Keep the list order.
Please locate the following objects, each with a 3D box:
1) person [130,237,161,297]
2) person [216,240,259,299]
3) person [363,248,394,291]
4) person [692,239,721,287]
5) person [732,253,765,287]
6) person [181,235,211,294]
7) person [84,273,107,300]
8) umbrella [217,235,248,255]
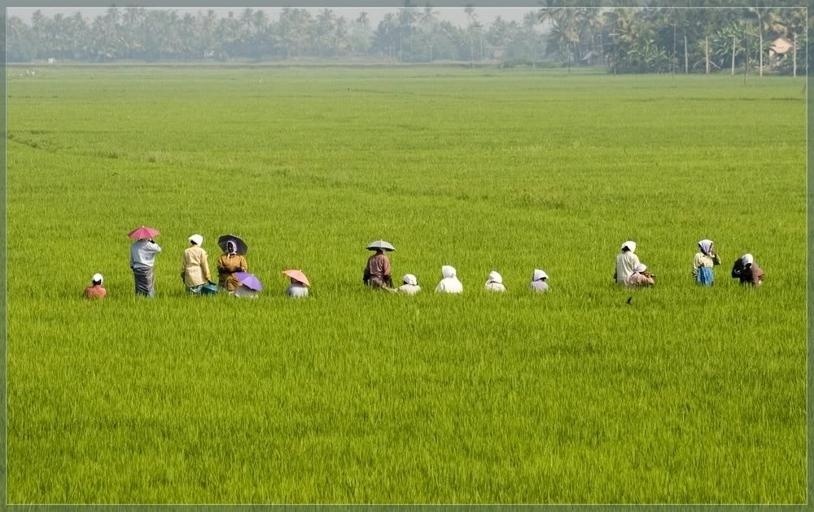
[{"bbox_3d":[-6.431,0.212,26.805,0.649,1.887,0.556,5,28,0],"label":"person"},{"bbox_3d":[-4.175,0.068,26.881,1.078,1.752,1.309,3,29,-2],"label":"person"},{"bbox_3d":[-0.758,0.367,27.318,0.714,1.067,0.425,3,18,3],"label":"person"},{"bbox_3d":[7.648,0.066,28.045,0.622,1.354,2.240,3,13,16],"label":"person"},{"bbox_3d":[8.636,0.343,27.836,0.735,0.911,0.965,4,13,17],"label":"person"},{"bbox_3d":[-5.060,0.223,26.499,0.614,1.582,0.977,-5,13,-23],"label":"person"},{"bbox_3d":[-7.832,0.807,27.557,0.335,0.866,0.376,8,22,-4],"label":"person"},{"bbox_3d":[-4.164,-0.234,26.416,0.560,0.537,0.495,-7,14,-30],"label":"umbrella"}]
